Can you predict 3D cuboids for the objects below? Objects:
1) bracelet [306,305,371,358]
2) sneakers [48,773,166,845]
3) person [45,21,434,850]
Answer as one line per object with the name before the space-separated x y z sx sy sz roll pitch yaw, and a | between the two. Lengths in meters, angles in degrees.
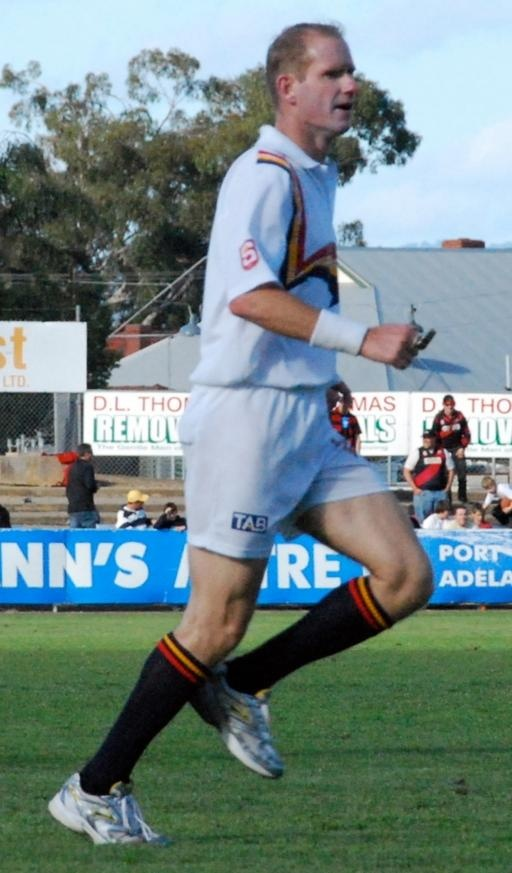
bracelet | 0.227 -0.275 4.248 0.155 0.113 0.155 0 1 2
sneakers | -0.391 0.999 4.264 0.316 0.148 0.132 28 10 2
person | 0.006 -0.040 4.371 0.971 2.216 0.455 0 1 2
